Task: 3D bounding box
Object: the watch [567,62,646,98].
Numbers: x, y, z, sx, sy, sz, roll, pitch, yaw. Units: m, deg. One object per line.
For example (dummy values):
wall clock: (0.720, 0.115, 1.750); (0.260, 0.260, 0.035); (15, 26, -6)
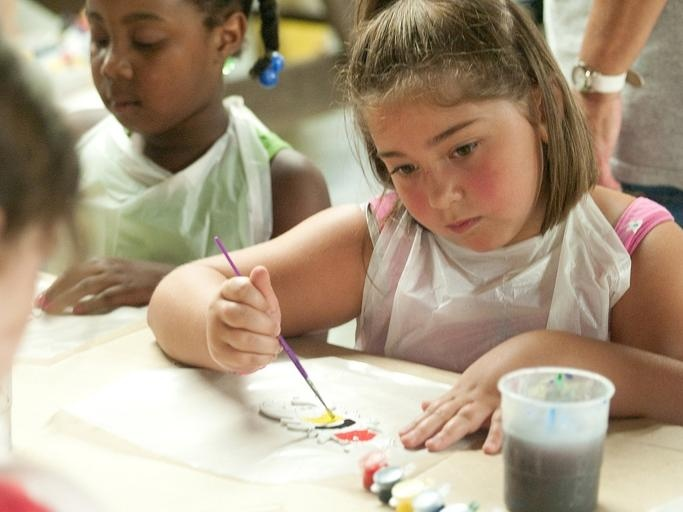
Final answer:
watch: (0.553, -0.376, 1.443); (0.110, 0.083, 0.072); (4, 17, 1)
